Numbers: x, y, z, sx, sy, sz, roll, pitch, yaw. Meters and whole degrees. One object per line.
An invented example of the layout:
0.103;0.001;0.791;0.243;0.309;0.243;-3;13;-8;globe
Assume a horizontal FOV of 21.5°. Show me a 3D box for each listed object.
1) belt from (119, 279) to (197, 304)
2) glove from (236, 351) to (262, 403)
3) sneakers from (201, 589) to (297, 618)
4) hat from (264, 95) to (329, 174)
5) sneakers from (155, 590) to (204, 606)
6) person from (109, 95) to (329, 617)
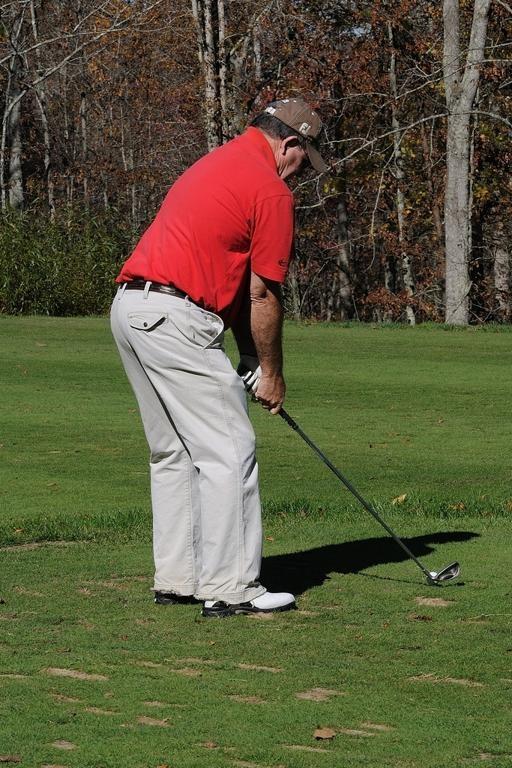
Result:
-0.379;-0.358;5.034;0.171;0.042;0.126;10;11;-3;belt
-0.056;-0.030;5.361;0.093;0.206;0.071;27;-57;-37;glove
-0.019;0.834;5.052;0.312;0.120;0.117;-6;2;-3;sneakers
0.180;-0.993;5.261;0.320;0.171;0.205;36;6;-22;hat
-0.304;0.825;5.228;0.192;0.073;0.061;1;2;-12;sneakers
-0.148;-0.117;5.131;0.819;1.798;0.394;-1;0;2;person
